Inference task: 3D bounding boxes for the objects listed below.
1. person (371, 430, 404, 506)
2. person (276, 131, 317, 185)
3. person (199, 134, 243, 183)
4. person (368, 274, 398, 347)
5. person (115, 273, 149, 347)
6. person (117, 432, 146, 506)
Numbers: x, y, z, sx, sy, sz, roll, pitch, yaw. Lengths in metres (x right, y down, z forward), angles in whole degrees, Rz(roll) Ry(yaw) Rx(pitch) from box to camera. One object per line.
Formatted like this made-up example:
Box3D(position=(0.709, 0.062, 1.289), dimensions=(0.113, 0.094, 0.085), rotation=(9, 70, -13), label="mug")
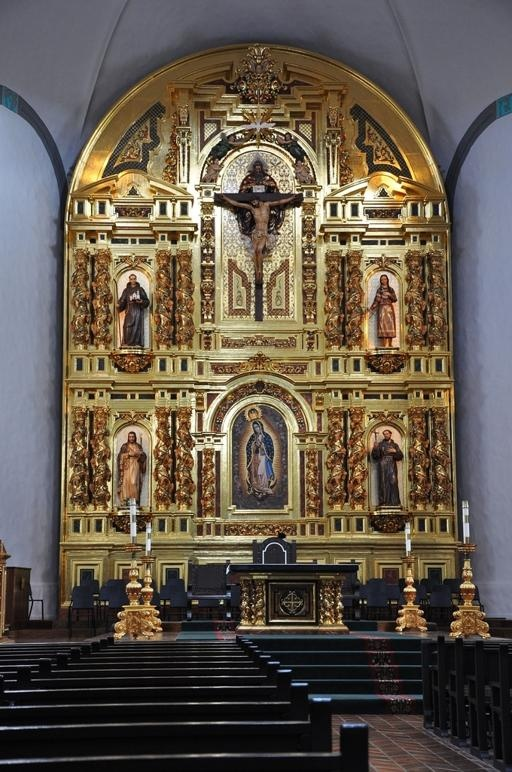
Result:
Box3D(position=(2.112, 1.342, 19.940), dimensions=(0.477, 1.261, 0.432), rotation=(-1, -9, 6), label="person")
Box3D(position=(0.694, -3.865, 21.164), dimensions=(0.617, 1.009, 0.260), rotation=(-3, -9, 19), label="person")
Box3D(position=(-0.624, -3.897, 21.011), dimensions=(0.523, 0.945, 0.390), rotation=(10, 19, 2), label="person")
Box3D(position=(2.119, -1.238, 20.563), dimensions=(0.457, 1.283, 0.338), rotation=(-2, -9, 7), label="person")
Box3D(position=(-2.028, -1.211, 20.266), dimensions=(0.510, 1.279, 0.431), rotation=(0, -9, -6), label="person")
Box3D(position=(-2.030, 1.322, 19.753), dimensions=(0.438, 1.214, 0.482), rotation=(-1, -9, 7), label="person")
